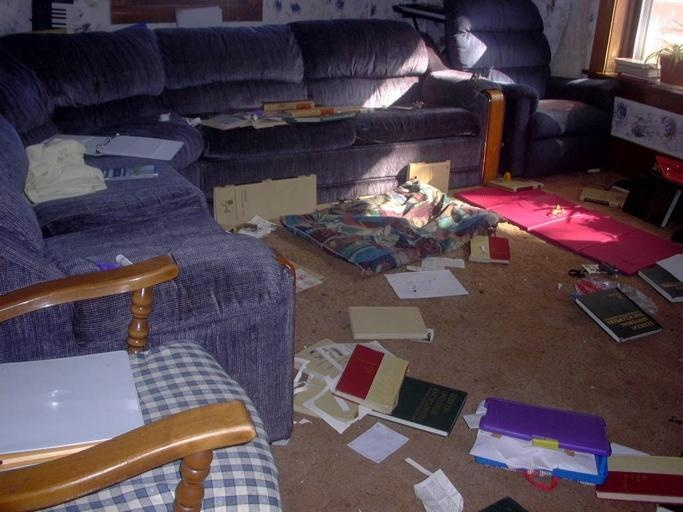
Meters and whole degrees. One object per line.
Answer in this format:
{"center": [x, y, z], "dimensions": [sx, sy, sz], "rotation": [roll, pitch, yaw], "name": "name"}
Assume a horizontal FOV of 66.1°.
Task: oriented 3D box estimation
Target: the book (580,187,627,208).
{"center": [1.804, -0.417, 3.634], "dimensions": [0.276, 0.053, 0.285], "rotation": [16, 32, 25], "name": "book"}

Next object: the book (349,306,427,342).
{"center": [0.201, 0.293, 2.340], "dimensions": [0.337, 0.059, 0.187], "rotation": [0, 29, -2], "name": "book"}

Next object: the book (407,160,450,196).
{"center": [0.587, -0.537, 3.561], "dimensions": [0.344, 0.208, 0.072], "rotation": [-4, 22, -23], "name": "book"}

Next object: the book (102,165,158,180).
{"center": [-0.906, -0.358, 2.263], "dimensions": [0.123, 0.028, 0.117], "rotation": [-3, 3, 28], "name": "book"}

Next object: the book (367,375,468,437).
{"center": [0.310, 0.543, 1.933], "dimensions": [0.223, 0.028, 0.204], "rotation": [10, 25, 15], "name": "book"}

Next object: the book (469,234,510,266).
{"center": [0.806, -0.044, 2.893], "dimensions": [0.192, 0.039, 0.175], "rotation": [0, 33, 2], "name": "book"}

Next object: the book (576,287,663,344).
{"center": [1.266, 0.256, 2.424], "dimensions": [0.241, 0.047, 0.245], "rotation": [-7, 35, -12], "name": "book"}
